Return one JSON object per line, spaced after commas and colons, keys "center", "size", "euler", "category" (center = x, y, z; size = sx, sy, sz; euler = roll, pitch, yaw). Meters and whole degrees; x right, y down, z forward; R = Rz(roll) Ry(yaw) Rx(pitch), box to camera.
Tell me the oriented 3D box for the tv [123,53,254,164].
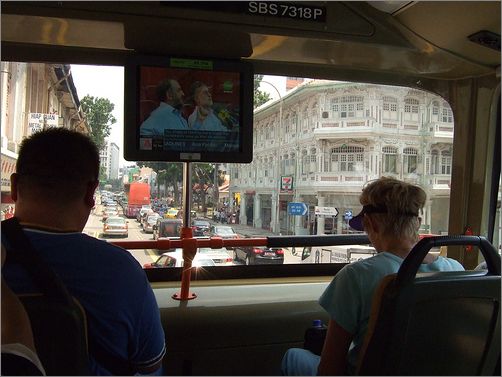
{"center": [-0.441, -0.507, 2.826], "size": [0.809, 0.702, 0.116], "euler": [1, -8, -8], "category": "tv"}
